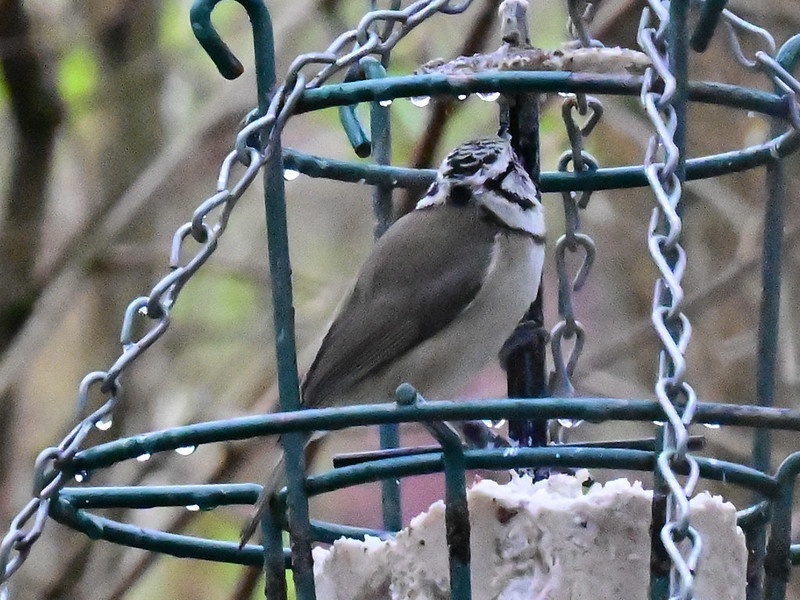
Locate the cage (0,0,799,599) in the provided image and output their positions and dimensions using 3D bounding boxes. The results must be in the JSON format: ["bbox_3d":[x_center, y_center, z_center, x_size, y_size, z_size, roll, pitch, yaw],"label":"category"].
[{"bbox_3d":[-0.052,0.149,3.073,0.970,0.740,0.987,4,-10,-29],"label":"cage"}]
